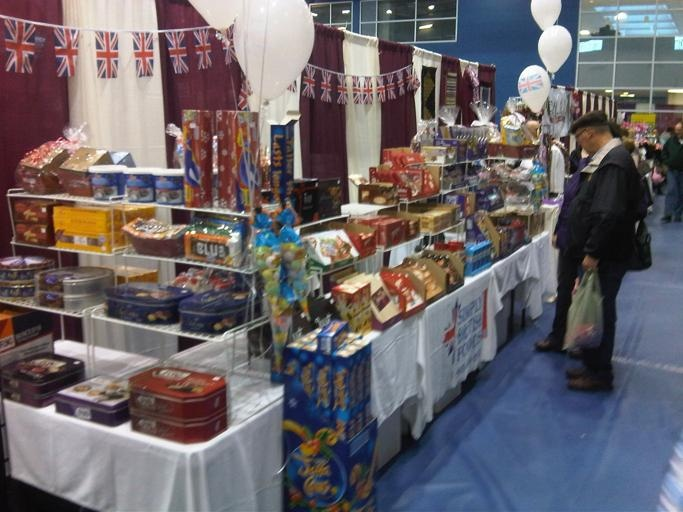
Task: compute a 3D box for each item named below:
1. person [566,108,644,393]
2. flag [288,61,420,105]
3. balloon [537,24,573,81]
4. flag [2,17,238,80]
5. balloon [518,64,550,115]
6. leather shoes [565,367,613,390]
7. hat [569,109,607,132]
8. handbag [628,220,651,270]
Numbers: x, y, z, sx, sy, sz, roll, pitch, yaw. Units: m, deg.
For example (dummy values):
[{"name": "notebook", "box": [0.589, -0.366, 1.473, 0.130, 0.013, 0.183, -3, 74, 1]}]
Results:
[{"name": "person", "box": [2.026, -0.013, 4.342, 0.521, 2.140, 0.577, 3, 12, 17]}, {"name": "flag", "box": [0.227, -1.838, 5.938, 0.171, 0.449, 1.998, 7, 17, 34]}, {"name": "balloon", "box": [2.504, -2.423, 6.548, 0.329, 0.543, 0.505, 3, 14, 19]}, {"name": "flag", "box": [-1.603, -1.483, 4.014, 1.485, 0.386, 0.506, -11, 17, -34]}, {"name": "balloon", "box": [2.275, -1.941, 6.506, 0.405, 0.616, 0.438, -9, 11, 27]}, {"name": "leather shoes", "box": [1.991, 0.993, 4.467, 0.243, 0.092, 0.193, 4, 8, 6]}, {"name": "hat", "box": [1.923, -1.036, 4.327, 0.193, 0.081, 0.165, 0, 16, 32]}, {"name": "handbag", "box": [2.465, -0.115, 4.616, 0.086, 0.197, 0.148, 13, 4, -8]}]
